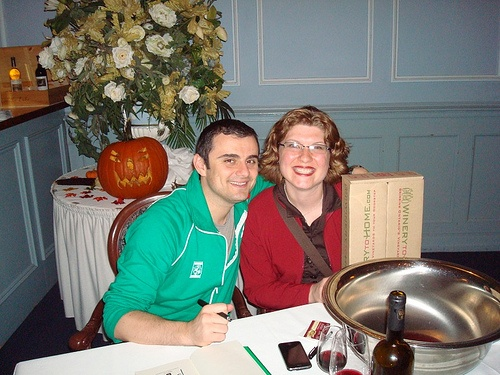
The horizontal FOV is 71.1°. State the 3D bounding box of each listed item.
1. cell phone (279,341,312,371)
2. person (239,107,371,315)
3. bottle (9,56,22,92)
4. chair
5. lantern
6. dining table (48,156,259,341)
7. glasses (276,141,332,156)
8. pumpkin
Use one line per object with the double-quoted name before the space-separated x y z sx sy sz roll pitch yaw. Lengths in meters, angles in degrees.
"cell phone" 0.145 0.553 1.131 0.110 0.018 0.152 -1 14 -10
"person" 0.205 0.099 1.749 0.734 0.960 0.366 -6 7 -21
"bottle" -2.278 -1.104 3.387 0.108 0.342 0.295 -11 14 -31
"chair" -0.518 0.455 2.026 0.848 0.792 1.166 -19 -31 -6
"lantern" -0.901 -0.090 2.735 0.483 0.446 0.471 -16 4 -24
"dining table" -0.929 0.387 2.947 1.200 0.918 1.151 -8 -12 -46
"glasses" 0.260 -0.196 1.722 0.216 0.070 0.056 -2 12 4
"pumpkin" -0.860 -0.182 2.806 0.537 0.579 0.555 -13 5 -19
